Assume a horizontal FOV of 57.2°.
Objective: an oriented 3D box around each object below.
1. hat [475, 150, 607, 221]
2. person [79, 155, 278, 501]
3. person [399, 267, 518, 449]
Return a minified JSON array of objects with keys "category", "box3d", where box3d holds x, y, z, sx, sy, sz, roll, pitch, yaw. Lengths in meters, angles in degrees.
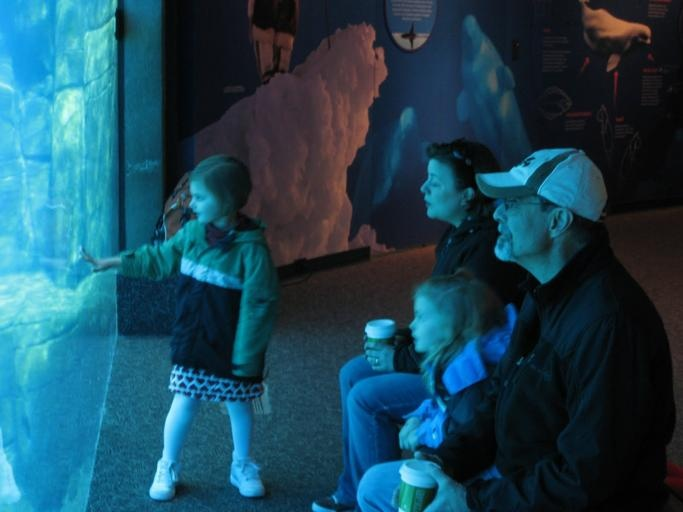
[{"category":"hat","box3d":[0.544,-0.205,1.713,0.329,0.197,0.226,11,3,24]},{"category":"person","box3d":[-0.591,0.288,2.611,0.654,1.376,0.369,-2,11,-8]},{"category":"person","box3d":[0.408,0.285,2.274,0.406,0.830,0.504,5,2,18]}]
